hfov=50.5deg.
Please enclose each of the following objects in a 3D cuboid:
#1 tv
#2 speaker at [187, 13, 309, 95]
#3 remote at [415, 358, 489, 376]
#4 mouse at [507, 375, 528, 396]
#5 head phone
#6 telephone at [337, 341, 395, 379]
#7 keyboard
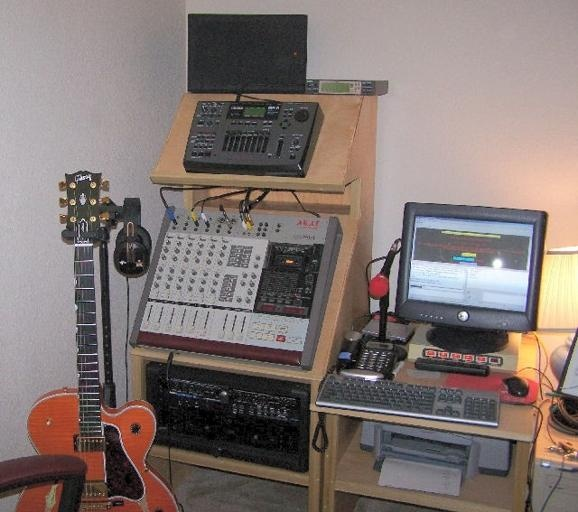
[{"bbox_3d":[0.686,0.088,2.321,0.481,0.523,0.307,5,-1,19],"label":"tv"},{"bbox_3d":[-0.184,-0.831,2.539,0.551,0.329,0.105,3,6,7],"label":"speaker"},{"bbox_3d":[0.577,0.399,2.175,0.250,0.051,0.037,8,7,9],"label":"remote"},{"bbox_3d":[0.745,0.430,2.006,0.061,0.051,0.071,5,7,-15],"label":"mouse"},{"bbox_3d":[-0.542,-0.065,2.203,0.139,0.273,0.131,1,21,-5],"label":"head phone"},{"bbox_3d":[0.295,0.376,2.198,0.173,0.074,0.300,9,7,17],"label":"telephone"},{"bbox_3d":[0.379,0.472,1.968,0.566,0.044,0.179,5,17,12],"label":"keyboard"}]
